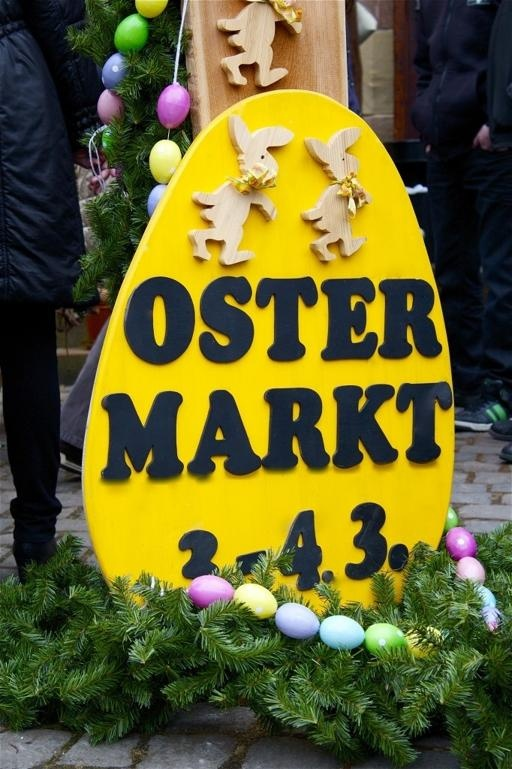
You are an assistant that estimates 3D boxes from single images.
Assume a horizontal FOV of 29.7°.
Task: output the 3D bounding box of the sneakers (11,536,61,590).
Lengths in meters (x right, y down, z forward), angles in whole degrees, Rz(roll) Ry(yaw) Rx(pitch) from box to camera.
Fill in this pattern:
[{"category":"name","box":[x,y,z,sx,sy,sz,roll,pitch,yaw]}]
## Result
[{"category":"sneakers","box":[-0.508,0.393,2.176,0.099,0.150,0.111,5,-2,-20]}]
